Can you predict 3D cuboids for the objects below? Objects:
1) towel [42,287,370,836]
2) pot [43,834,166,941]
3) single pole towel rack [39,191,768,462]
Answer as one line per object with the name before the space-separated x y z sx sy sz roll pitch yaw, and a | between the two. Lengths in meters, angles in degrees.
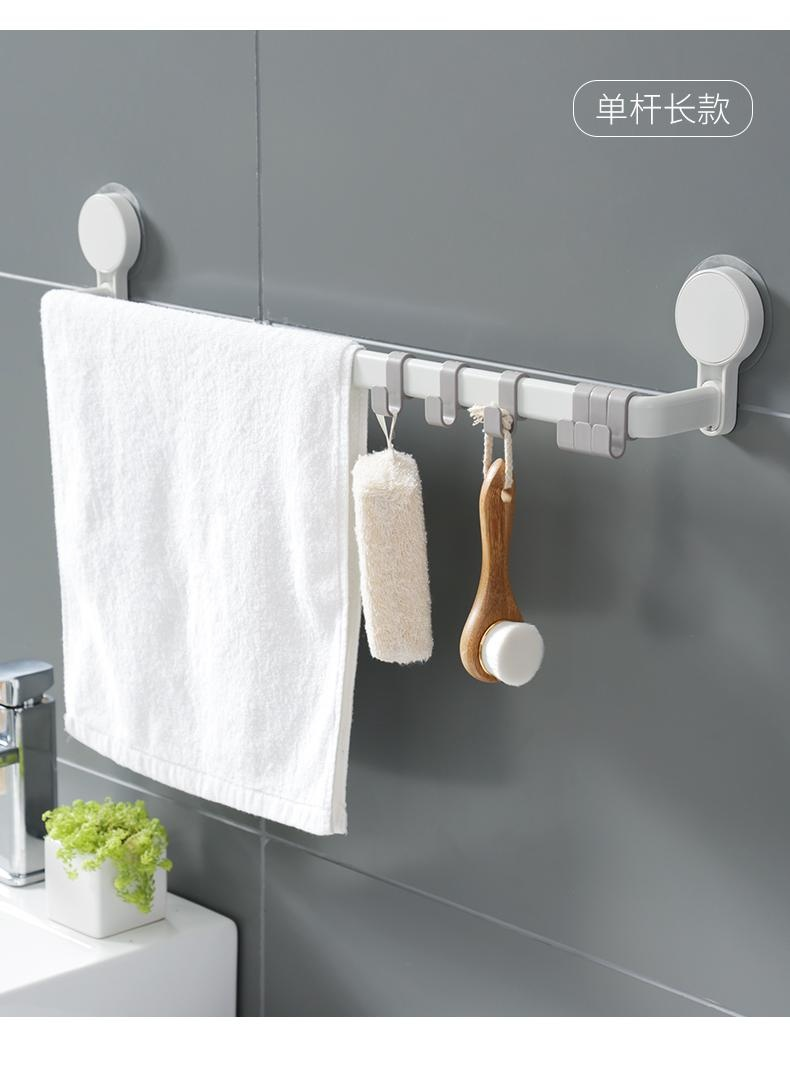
towel | -0.134 0.007 0.845 0.047 0.412 0.417 -13 20 -43
pot | -0.247 0.301 1.005 0.087 0.071 0.083 2 8 0
single pole towel rack | -0.041 -0.173 0.818 0.123 0.210 0.620 -1 6 -41
